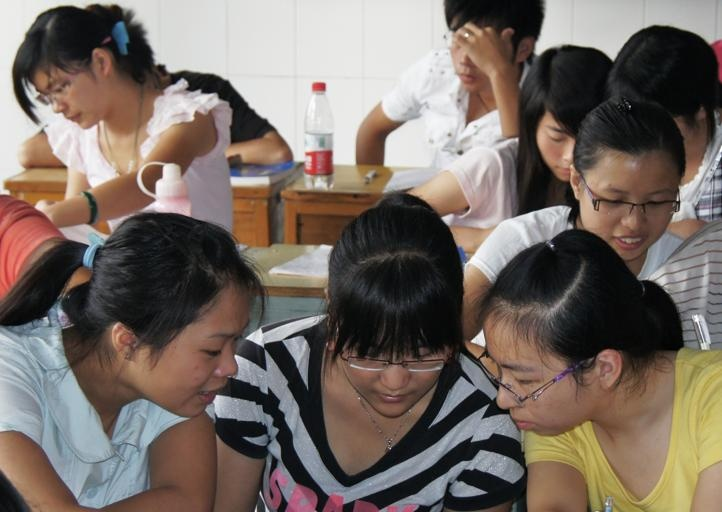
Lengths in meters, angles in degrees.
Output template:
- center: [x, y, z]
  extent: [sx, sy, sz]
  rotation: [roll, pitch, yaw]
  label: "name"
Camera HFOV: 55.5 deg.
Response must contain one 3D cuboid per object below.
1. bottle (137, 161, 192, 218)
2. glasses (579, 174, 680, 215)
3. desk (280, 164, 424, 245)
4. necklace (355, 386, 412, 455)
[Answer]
- center: [-0.665, -0.224, 2.311]
  extent: [0.165, 0.178, 0.247]
  rotation: [-6, 17, -17]
  label: "bottle"
- center: [0.745, -0.167, 1.935]
  extent: [0.269, 0.095, 0.096]
  rotation: [4, 17, 18]
  label: "glasses"
- center: [-0.157, -0.268, 3.496]
  extent: [0.422, 0.447, 0.436]
  rotation: [0, 20, 3]
  label: "desk"
- center: [0.058, 0.407, 1.700]
  extent: [0.176, 0.189, 0.022]
  rotation: [0, 5, 4]
  label: "necklace"
